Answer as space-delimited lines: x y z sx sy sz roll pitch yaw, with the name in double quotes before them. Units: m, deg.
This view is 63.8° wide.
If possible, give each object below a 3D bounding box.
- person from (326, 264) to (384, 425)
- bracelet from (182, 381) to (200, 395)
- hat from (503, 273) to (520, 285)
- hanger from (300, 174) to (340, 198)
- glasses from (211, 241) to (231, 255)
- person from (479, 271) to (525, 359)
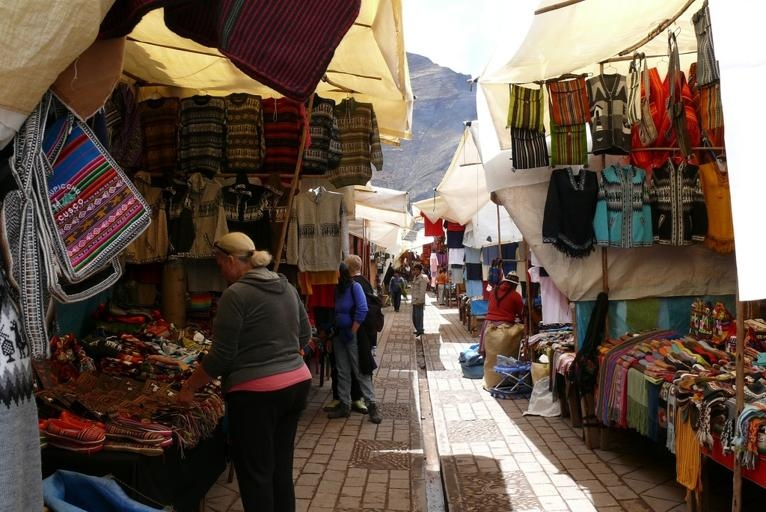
"person" -0.399 1.119 7.993 0.648 2.059 0.486 -3 2 -4
"bracelet" -1.345 0.931 4.330 0.093 0.081 0.100 3 3 16
"hat" 2.105 0.385 10.150 0.221 0.219 0.244 -2 2 9
"hanger" -0.738 -0.803 7.008 0.557 0.054 0.598 -1 22 12
"glasses" -1.162 -0.059 4.436 0.131 0.070 0.106 1 4 17
"person" 1.970 0.970 10.195 0.699 1.376 0.749 -2 2 12
